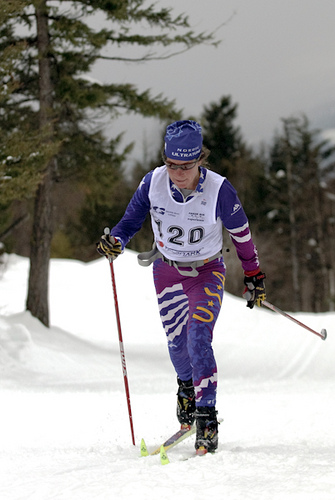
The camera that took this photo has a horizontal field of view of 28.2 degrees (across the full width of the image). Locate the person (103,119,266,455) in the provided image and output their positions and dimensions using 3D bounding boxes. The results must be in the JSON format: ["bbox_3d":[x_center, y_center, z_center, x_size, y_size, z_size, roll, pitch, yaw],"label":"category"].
[{"bbox_3d":[0.129,0.249,4.714,0.777,2.206,0.838,0,-3,42],"label":"person"}]

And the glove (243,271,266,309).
[{"bbox_3d":[0.630,0.290,4.972,0.212,0.244,0.120,-15,18,-25],"label":"glove"}]

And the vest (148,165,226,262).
[{"bbox_3d":[0.119,-0.236,4.622,0.508,0.629,0.297,2,-2,3],"label":"vest"}]

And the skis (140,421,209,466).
[{"bbox_3d":[0.052,1.307,4.749,0.076,0.130,0.694,24,15,14],"label":"skis"}]

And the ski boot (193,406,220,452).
[{"bbox_3d":[0.296,1.195,4.536,0.133,0.361,0.396,-6,-9,20],"label":"ski boot"}]

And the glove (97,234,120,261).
[{"bbox_3d":[-0.423,-0.018,4.745,0.163,0.181,0.243,2,-2,-5],"label":"glove"}]
